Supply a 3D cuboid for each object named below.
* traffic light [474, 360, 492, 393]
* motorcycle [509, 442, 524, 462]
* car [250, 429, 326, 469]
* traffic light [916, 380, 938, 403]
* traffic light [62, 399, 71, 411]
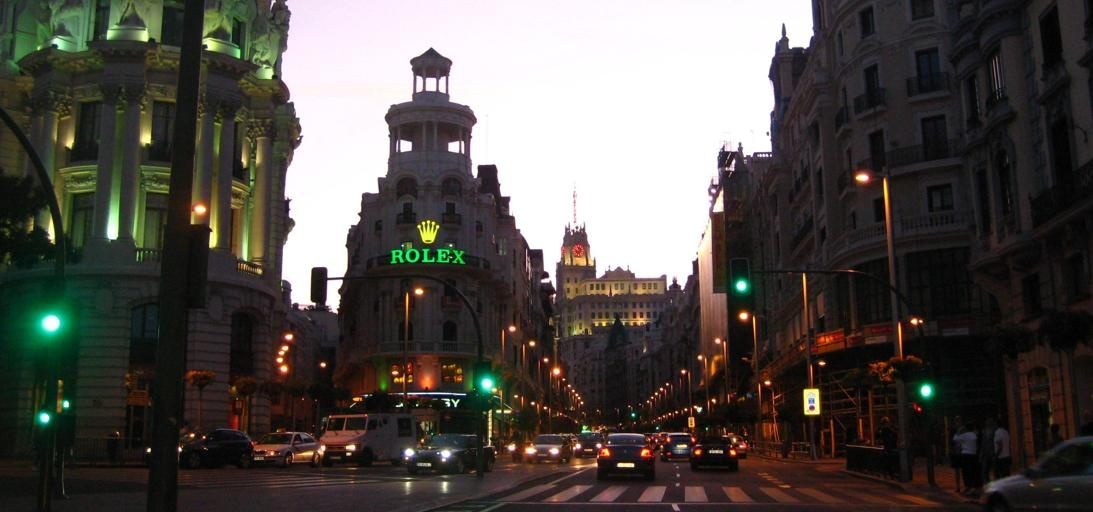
[{"bbox_3d":[-4.729,9.099,91.492,1.128,2.336,1.381,1,-15,-8],"label":"traffic light"},{"bbox_3d":[-2.632,18.151,112.030,1.296,0.592,1.995,-1,2,3],"label":"motorcycle"},{"bbox_3d":[-21.542,15.987,101.241,5.710,2.792,2.097,11,-16,-43],"label":"car"},{"bbox_3d":[27.535,9.687,87.012,1.140,1.418,1.160,-5,-15,13],"label":"traffic light"},{"bbox_3d":[-32.035,9.842,80.489,0.510,0.762,0.416,2,-15,-12],"label":"traffic light"}]
